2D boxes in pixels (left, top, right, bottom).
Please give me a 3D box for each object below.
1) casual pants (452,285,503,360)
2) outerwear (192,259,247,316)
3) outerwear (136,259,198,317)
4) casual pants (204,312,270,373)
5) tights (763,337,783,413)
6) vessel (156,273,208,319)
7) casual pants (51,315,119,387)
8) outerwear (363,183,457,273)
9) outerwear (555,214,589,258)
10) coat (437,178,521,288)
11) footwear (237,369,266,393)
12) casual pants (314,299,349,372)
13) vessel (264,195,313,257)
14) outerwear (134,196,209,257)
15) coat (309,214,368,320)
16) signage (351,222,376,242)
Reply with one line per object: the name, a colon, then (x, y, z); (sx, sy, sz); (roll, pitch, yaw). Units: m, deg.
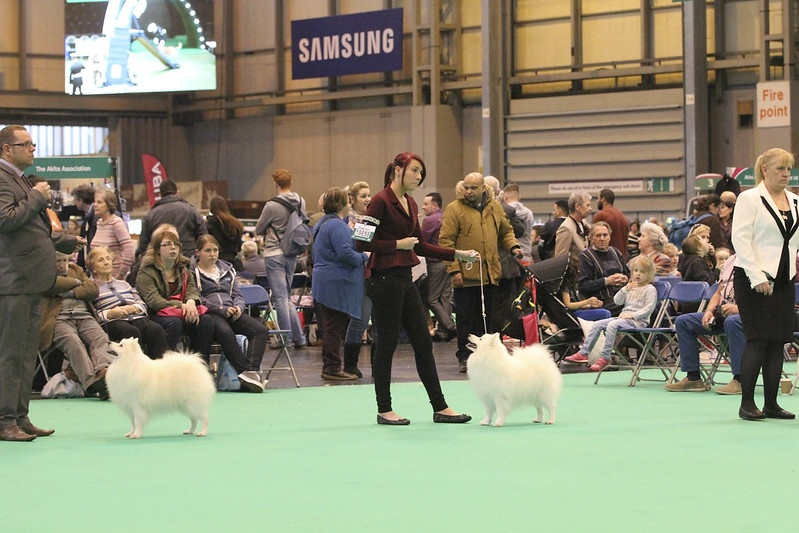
casual pants: (0.893, 0.688, 12.603); (0.215, 1.072, 0.524); (21, 17, 1)
outerwear: (-1.966, 0.285, 11.556); (0.514, 0.711, 0.441); (-5, 8, -22)
outerwear: (-2.460, 0.258, 11.346); (0.638, 0.758, 0.705); (2, -5, -24)
casual pants: (-1.705, 0.786, 11.389); (0.419, 0.811, 0.337); (-23, -6, -10)
tights: (3.490, 1.109, 9.859); (0.218, 0.624, 0.165); (1, 15, 18)
vessel: (-2.295, 0.373, 11.253); (0.341, 0.401, 0.328); (2, -8, -14)
casual pants: (-3.169, 0.851, 10.759); (0.408, 0.916, 0.298); (-26, -3, -35)
outerwear: (-0.029, -0.340, 9.843); (0.847, 0.892, 0.694); (-4, 0, 23)
outerwear: (2.326, -0.385, 14.174); (0.303, 0.500, 0.602); (-3, 1, 34)
coat: (0.963, -0.105, 12.307); (0.922, 1.907, 0.630); (-6, 13, -8)
footwear: (-1.583, 1.228, 11.317); (0.187, 0.143, 0.381); (-25, 46, -20)
casual pants: (-0.730, 0.732, 12.120); (0.335, 1.092, 0.537); (0, -9, -13)
vessel: (-1.462, -0.475, 14.478); (0.525, 0.834, 0.584); (-11, -17, 36)
outerwear: (-2.772, -0.462, 13.118); (0.874, 0.798, 0.461); (-2, -21, -9)
coat: (-0.659, -0.012, 11.979); (0.667, 1.173, 0.890); (3, 0, -24)
signage: (-0.302, -0.306, 9.415); (0.163, 0.144, 0.016); (13, -20, -3)
